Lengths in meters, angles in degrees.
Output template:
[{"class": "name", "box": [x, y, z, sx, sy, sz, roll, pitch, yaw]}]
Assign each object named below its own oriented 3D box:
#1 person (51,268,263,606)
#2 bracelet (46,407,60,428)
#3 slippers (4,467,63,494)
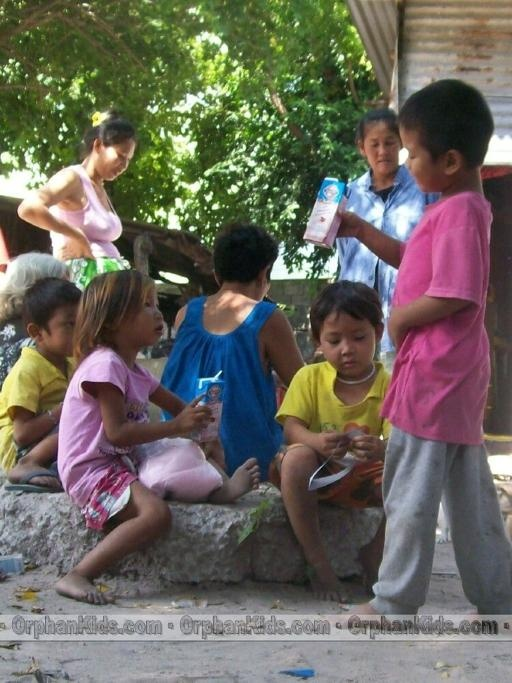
[{"class": "person", "box": [-0.381, 0.285, 2.953, 0.713, 1.137, 0.571, 3, -4, -25]}, {"class": "bracelet", "box": [-0.845, 0.314, 3.379, 0.066, 0.079, 0.034, -12, -48, 38]}, {"class": "slippers", "box": [-0.876, 0.555, 3.226, 0.184, 0.046, 0.098, -4, -3, 28]}]
